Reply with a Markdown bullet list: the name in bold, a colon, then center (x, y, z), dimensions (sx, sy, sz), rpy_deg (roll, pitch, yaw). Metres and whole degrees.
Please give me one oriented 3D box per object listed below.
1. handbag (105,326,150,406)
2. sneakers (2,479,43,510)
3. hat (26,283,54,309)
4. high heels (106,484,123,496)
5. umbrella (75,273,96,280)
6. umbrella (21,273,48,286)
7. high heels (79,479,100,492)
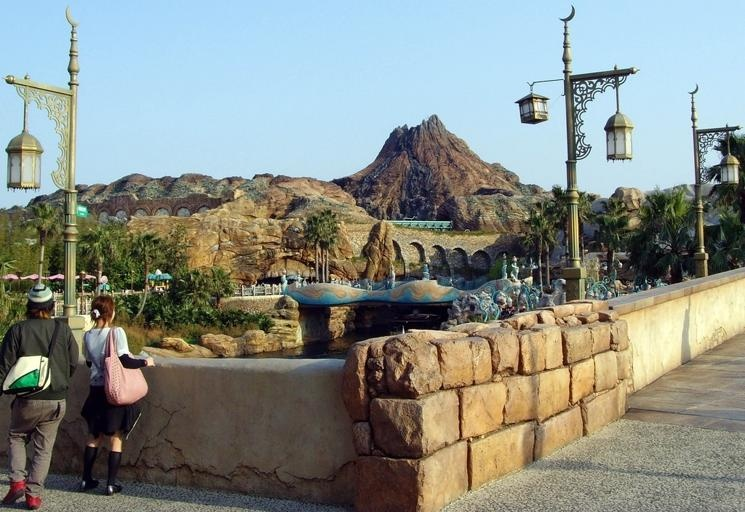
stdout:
- **handbag**: center (-2.475, 1.099, 7.755), dimensions (0.390, 0.726, 0.216), rpy_deg (1, 4, -2)
- **sneakers**: center (-3.409, 2.317, 7.536), dimensions (0.500, 0.262, 0.183), rpy_deg (-5, 5, 44)
- **hat**: center (-3.390, 0.393, 7.916), dimensions (0.185, 0.177, 0.271), rpy_deg (-3, 11, -15)
- **high heels**: center (-2.569, 2.326, 7.702), dimensions (0.062, 0.083, 0.189), rpy_deg (-1, -3, 6)
- **umbrella**: center (-18.312, 1.346, 49.722), dimensions (0.755, 0.348, 0.783), rpy_deg (0, -1, -28)
- **umbrella**: center (-18.228, 1.243, 41.552), dimensions (1.240, 0.603, 1.346), rpy_deg (-1, -4, 26)
- **high heels**: center (-2.850, 2.298, 7.798), dimensions (0.162, 0.080, 0.086), rpy_deg (-7, 7, -37)
